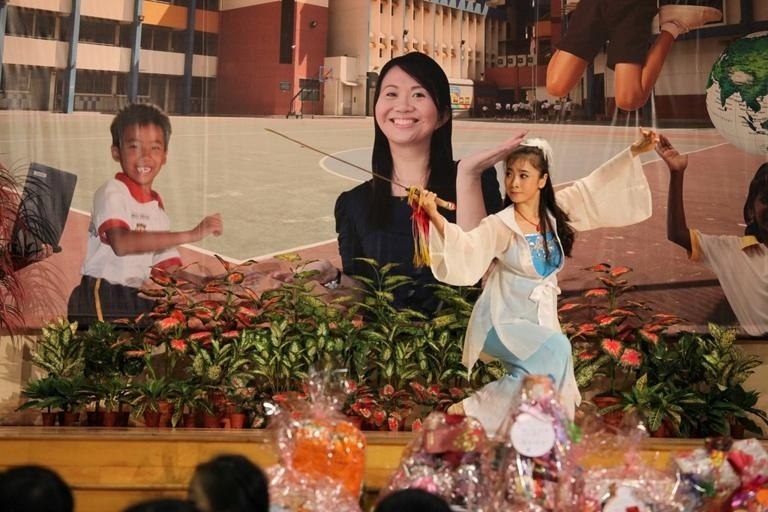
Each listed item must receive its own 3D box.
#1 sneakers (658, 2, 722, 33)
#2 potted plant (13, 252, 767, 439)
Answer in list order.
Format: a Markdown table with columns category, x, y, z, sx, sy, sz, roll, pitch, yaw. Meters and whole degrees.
| category | x | y | z | sx | sy | sz | roll | pitch | yaw |
| --- | --- | --- | --- | --- | --- | --- | --- | --- | --- |
| sneakers | 1.994 | -1.584 | 3.813 | 0.482 | 0.214 | 0.174 | 2 | -2 | 5 |
| potted plant | -0.159 | 0.531 | 3.298 | 3.428 | 1.069 | 0.819 | 1 | -15 | 1 |
